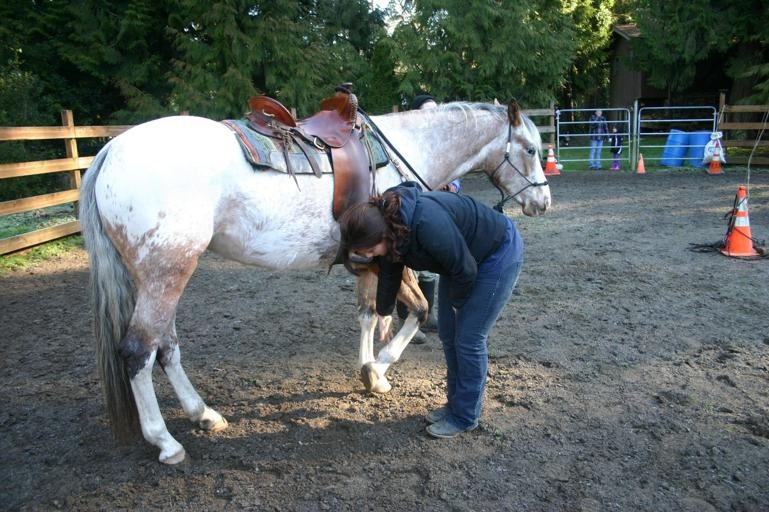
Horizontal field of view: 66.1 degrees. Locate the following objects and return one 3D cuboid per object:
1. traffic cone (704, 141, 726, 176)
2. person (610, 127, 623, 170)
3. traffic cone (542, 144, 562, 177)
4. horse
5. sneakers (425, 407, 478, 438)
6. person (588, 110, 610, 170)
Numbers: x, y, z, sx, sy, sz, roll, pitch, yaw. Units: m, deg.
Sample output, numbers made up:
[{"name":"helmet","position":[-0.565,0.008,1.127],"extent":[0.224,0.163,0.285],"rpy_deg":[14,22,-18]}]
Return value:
[{"name":"traffic cone","position":[7.930,-2.339,14.177],"extent":[0.323,0.674,1.083],"rpy_deg":[6,15,28]},{"name":"person","position":[6.052,-2.829,15.543],"extent":[0.333,1.094,1.306],"rpy_deg":[4,14,21]},{"name":"traffic cone","position":[4.280,-2.487,15.314],"extent":[0.694,0.934,0.699],"rpy_deg":[0,22,14]},{"name":"horse","position":[-0.482,0.212,6.057],"extent":[4.525,3.325,1.132],"rpy_deg":[-10,15,-17]},{"name":"sneakers","position":[0.557,1.471,5.212],"extent":[0.309,0.110,0.242],"rpy_deg":[1,26,-8]},{"name":"person","position":[5.741,-3.132,15.937],"extent":[0.444,1.520,1.535],"rpy_deg":[4,14,20]}]
